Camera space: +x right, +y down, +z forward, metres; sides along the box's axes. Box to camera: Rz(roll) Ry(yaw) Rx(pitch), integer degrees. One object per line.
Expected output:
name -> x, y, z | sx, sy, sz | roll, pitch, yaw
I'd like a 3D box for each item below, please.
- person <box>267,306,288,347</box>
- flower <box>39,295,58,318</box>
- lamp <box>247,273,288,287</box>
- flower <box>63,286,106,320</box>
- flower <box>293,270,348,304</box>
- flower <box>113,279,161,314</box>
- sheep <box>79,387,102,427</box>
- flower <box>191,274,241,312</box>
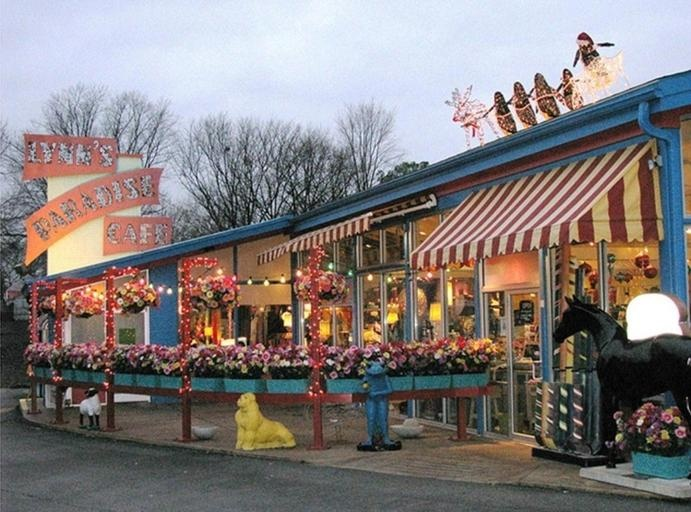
person -> -1.780, 1.796, 24.560 | 0.529, 0.740, 0.275 | -2, -1, -7
flower -> -6.524, 1.112, 20.930 | 0.412, 0.267, 0.513 | 9, 2, 5
lamp -> -2.042, 0.644, 24.530 | 1.214, 0.201, 0.130 | -1, -1, -18
flower -> -5.742, 1.007, 20.823 | 0.731, 0.525, 0.741 | -1, -1, 30
flower -> -0.417, 0.549, 16.682 | 0.679, 0.377, 0.684 | 0, 0, 4
flower -> -4.256, 0.806, 19.020 | 0.946, 0.770, 0.907 | -7, 4, 3
sheep -> -5.031, 2.961, 18.654 | 0.391, 0.766, 0.662 | -1, -1, -18
flower -> -2.441, 0.700, 18.017 | 0.694, 0.482, 0.707 | 0, -2, 31
